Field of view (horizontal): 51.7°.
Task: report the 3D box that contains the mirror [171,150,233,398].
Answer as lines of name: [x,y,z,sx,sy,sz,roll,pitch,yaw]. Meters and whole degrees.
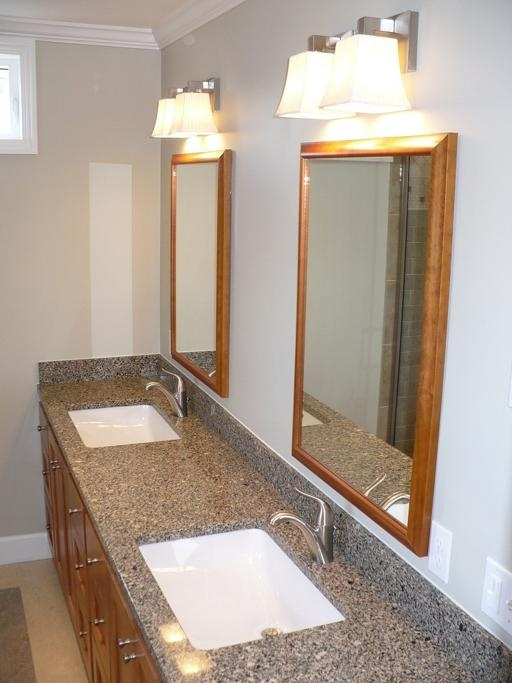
mirror: [-0.271,-0.312,2.366,0.042,1.041,0.783,-4,16,-24]

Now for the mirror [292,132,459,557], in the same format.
mirror: [0.228,-0.054,1.164,0.057,0.877,0.618,-1,6,-17]

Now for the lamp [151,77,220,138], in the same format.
lamp: [-0.299,-0.966,2.139,0.143,0.238,0.297,-14,23,-41]
